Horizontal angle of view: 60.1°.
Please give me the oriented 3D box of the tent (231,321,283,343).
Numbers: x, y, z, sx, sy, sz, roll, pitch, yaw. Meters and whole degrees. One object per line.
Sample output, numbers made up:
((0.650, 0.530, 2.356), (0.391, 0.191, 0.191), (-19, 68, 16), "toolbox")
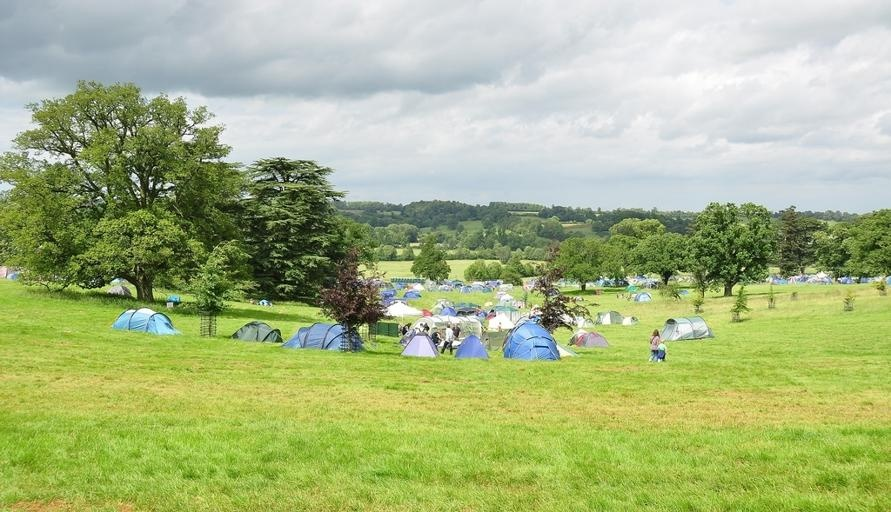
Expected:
((-12.623, 5.159, 51.294), (2.298, 0.758, 1.734), (-1, -2, 31), "tent")

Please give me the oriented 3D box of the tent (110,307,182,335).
((-19.611, 4.290, 50.233), (3.166, 0.960, 2.016), (3, -1, 15), "tent")
